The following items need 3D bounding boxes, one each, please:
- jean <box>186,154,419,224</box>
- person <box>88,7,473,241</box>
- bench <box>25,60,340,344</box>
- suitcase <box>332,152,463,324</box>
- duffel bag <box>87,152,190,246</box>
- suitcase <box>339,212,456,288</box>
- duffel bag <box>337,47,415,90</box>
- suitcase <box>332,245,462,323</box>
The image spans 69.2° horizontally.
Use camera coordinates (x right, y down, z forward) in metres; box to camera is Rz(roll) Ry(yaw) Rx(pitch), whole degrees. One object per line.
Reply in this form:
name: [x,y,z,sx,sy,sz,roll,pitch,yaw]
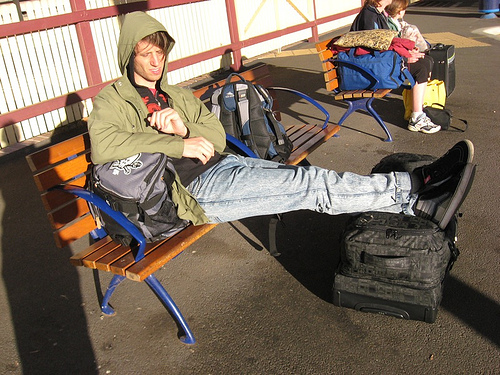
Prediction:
jean: [0.242,0.014,2.497,1.873,0.424,0.581,0,15,13]
person: [0.024,-0.417,2.361,2.097,1.351,1.030,1,30,5]
bench: [-0.300,-0.036,3.347,1.117,1.107,2.850,26,31,16]
suitcase: [0.932,0.500,2.388,0.679,0.652,0.545,13,33,26]
duffel bag: [-0.658,0.039,2.487,0.646,0.529,0.667,3,10,24]
suitcase: [1.064,0.364,2.627,0.810,0.299,0.961,4,13,25]
duffel bag: [1.574,-1.503,4.637,0.998,0.550,0.315,9,33,20]
suitcase: [0.912,0.626,2.286,0.657,0.137,0.604,7,25,26]
